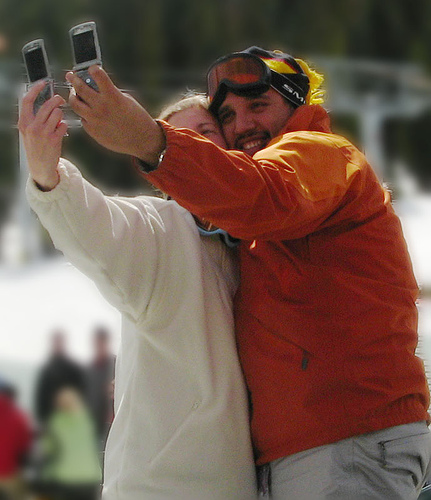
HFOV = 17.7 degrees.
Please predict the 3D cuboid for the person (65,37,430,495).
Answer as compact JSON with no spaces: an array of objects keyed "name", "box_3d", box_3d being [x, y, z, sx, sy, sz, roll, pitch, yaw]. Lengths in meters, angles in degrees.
[{"name":"person","box_3d":[0.314,0.181,5.701,1.202,1.728,0.875,-12,31,-12]}]
